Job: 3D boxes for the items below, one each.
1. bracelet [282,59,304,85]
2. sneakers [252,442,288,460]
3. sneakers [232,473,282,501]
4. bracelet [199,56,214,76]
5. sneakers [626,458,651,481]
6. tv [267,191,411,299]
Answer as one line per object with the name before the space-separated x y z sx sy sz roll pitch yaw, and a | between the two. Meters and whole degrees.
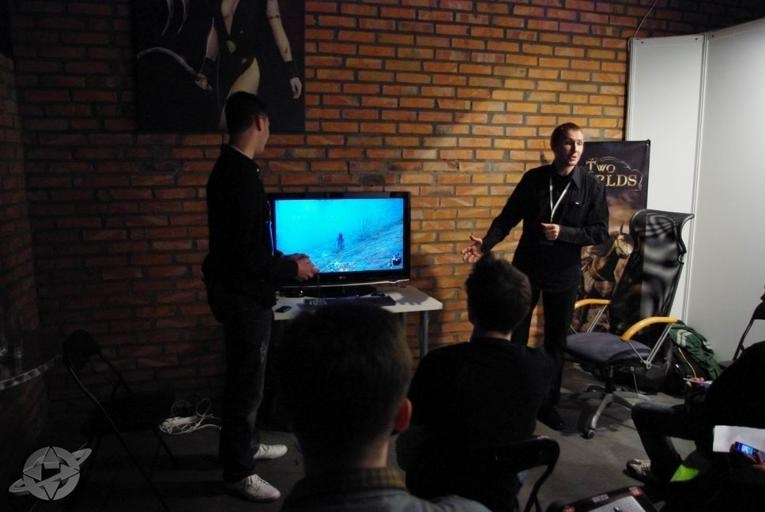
bracelet | -0.688 -1.435 4.560 0.167 0.231 0.134 -7 12 2
sneakers | -0.760 1.345 4.085 0.292 0.100 0.091 1 25 -29
sneakers | -0.774 1.444 3.692 0.330 0.129 0.132 5 5 1
bracelet | -1.312 -1.423 4.437 0.087 0.131 0.141 31 42 30
sneakers | 1.665 1.371 3.817 0.132 0.064 0.169 4 1 33
tv | -0.357 -0.101 4.402 0.933 0.564 0.266 -1 7 -8
